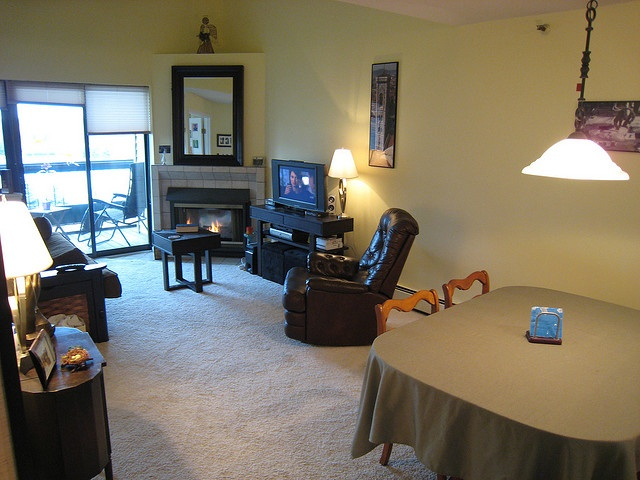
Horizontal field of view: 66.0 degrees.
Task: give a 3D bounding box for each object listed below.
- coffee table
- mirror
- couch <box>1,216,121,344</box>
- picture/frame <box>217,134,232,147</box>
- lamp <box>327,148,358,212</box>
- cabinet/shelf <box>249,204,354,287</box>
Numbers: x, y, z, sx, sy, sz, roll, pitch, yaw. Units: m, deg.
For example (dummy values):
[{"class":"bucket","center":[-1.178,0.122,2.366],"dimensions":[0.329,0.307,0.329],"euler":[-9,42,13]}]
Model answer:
[{"class":"coffee table","center":[-1.605,0.239,6.057],"dimensions":[0.652,0.693,0.612],"euler":[-11,18,-38]},{"class":"mirror","center":[-1.576,-1.744,6.946],"dimensions":[1.015,1.377,0.167],"euler":[1,15,1]},{"class":"couch","center":[-2.082,0.338,4.001],"dimensions":[0.443,0.493,1.250],"euler":[-8,20,-35]},{"class":"picture/frame","center":[-1.367,-1.438,7.035],"dimensions":[0.187,0.156,0.026],"euler":[1,5,-5]},{"class":"lamp","center":[0.283,-0.694,5.962],"dimensions":[0.332,0.805,0.463],"euler":[2,15,3]},{"class":"cabinet/shelf","center":[-0.287,0.114,6.436],"dimensions":[0.547,0.953,1.456],"euler":[-10,17,-42]}]
